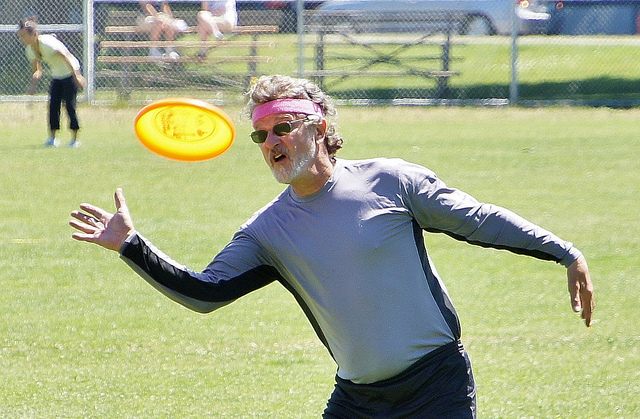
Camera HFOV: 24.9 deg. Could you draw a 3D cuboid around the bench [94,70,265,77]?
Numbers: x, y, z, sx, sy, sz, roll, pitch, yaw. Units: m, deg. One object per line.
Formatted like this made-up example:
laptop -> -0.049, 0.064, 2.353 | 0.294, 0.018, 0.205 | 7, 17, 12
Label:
bench -> -2.863, -2.733, 28.930 | 3.225, 0.161, 0.654 | -1, 15, -9
